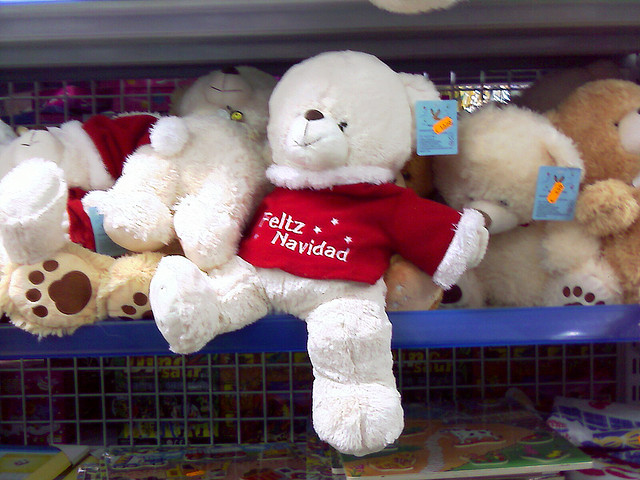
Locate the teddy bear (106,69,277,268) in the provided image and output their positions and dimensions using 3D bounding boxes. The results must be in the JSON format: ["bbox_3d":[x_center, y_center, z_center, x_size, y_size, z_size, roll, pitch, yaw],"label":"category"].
[{"bbox_3d":[-0.229,-0.130,1.359,0.301,0.219,0.407,15,57,17],"label":"teddy bear"}]

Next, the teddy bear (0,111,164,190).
[{"bbox_3d":[-0.500,-0.205,1.355,0.313,0.107,0.182,2,-13,-22],"label":"teddy bear"}]

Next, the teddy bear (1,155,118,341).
[{"bbox_3d":[-0.493,0.025,1.188,0.188,0.319,0.154,6,25,21],"label":"teddy bear"}]

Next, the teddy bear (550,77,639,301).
[{"bbox_3d":[0.582,-0.113,1.351,0.163,0.417,0.264,-1,23,7],"label":"teddy bear"}]

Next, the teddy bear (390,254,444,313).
[{"bbox_3d":[0.190,0.092,1.244,0.102,0.108,0.036,-5,-23,3],"label":"teddy bear"}]

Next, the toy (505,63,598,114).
[{"bbox_3d":[0.523,-0.335,1.411,0.208,0.057,0.054,-18,52,11],"label":"toy"}]

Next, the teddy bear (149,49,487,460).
[{"bbox_3d":[0.012,0.010,1.160,0.405,0.658,0.505,14,28,35],"label":"teddy bear"}]

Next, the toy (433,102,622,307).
[{"bbox_3d":[0.431,-0.050,1.428,0.461,0.457,0.372,-1,19,25],"label":"toy"}]
